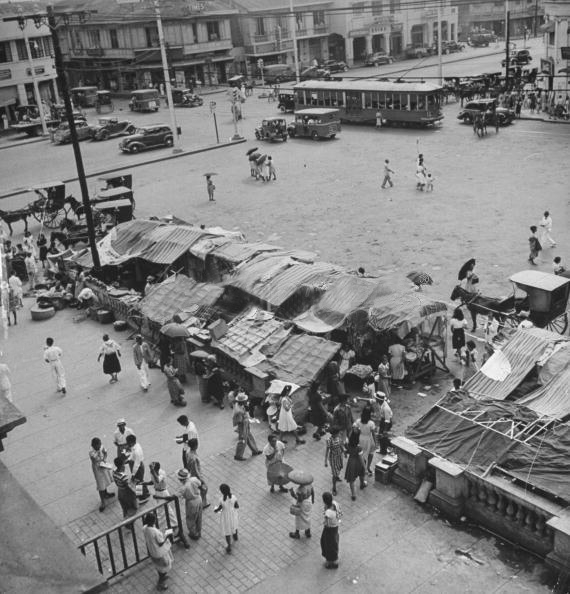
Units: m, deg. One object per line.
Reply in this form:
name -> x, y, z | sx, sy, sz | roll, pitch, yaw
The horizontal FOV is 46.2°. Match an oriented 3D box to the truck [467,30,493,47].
truck -> 27.739, -36.614, 95.200 | 2.743, 1.736, 5.951 | -5, 20, 8

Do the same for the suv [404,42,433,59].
suv -> 17.927, -32.149, 88.697 | 3.877, 1.773, 2.485 | -27, 37, -34

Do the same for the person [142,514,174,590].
person -> -2.029, 4.088, 10.722 | 0.586, 1.216, 0.599 | -13, 26, -20

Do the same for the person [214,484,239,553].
person -> -1.012, 3.793, 11.610 | 0.360, 1.161, 0.416 | -2, 7, 22

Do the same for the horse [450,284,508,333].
horse -> 5.507, 0.331, 18.813 | 1.702, 1.249, 0.479 | 14, 30, 39

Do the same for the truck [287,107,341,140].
truck -> 2.434, -12.294, 48.090 | 3.295, 2.687, 5.126 | -1, 22, 19

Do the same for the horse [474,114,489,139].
horse -> 12.483, -11.016, 42.871 | 0.782, 1.355, 1.934 | -1, 21, 19
